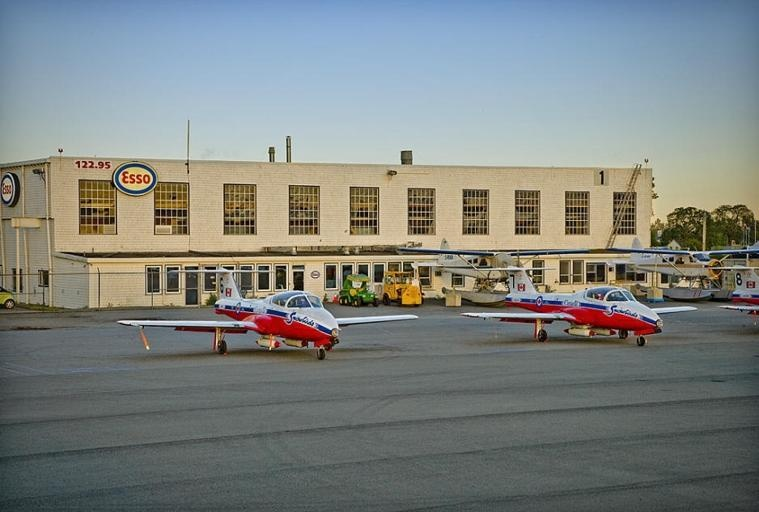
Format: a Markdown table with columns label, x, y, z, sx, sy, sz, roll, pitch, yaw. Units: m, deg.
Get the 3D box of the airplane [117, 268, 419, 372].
| label | x | y | z | sx | sy | sz | roll | pitch | yaw |
| --- | --- | --- | --- | --- | --- | --- | --- | --- | --- |
| airplane | -4.911 | 2.226 | 33.478 | 7.234 | 3.023 | 6.570 | 0 | 4 | 9 |
